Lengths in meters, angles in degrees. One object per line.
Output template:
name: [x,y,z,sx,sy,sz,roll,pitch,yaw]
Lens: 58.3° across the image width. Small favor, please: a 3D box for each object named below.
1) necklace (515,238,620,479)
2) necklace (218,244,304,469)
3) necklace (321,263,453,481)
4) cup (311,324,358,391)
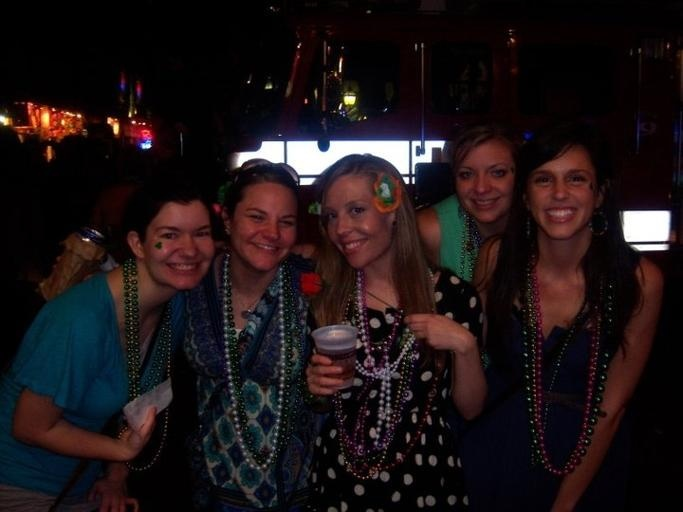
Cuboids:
necklace: [1.638,0.813,4.462,0.611,1.575,0.324,2,6,23]
necklace: [-0.597,0.738,4.427,0.542,1.460,0.506,-1,6,-4]
necklace: [0.334,0.839,4.185,0.909,1.256,0.369,0,-18,2]
cup: [-0.060,0.676,4.212,0.382,0.419,0.382,-1,0,0]
